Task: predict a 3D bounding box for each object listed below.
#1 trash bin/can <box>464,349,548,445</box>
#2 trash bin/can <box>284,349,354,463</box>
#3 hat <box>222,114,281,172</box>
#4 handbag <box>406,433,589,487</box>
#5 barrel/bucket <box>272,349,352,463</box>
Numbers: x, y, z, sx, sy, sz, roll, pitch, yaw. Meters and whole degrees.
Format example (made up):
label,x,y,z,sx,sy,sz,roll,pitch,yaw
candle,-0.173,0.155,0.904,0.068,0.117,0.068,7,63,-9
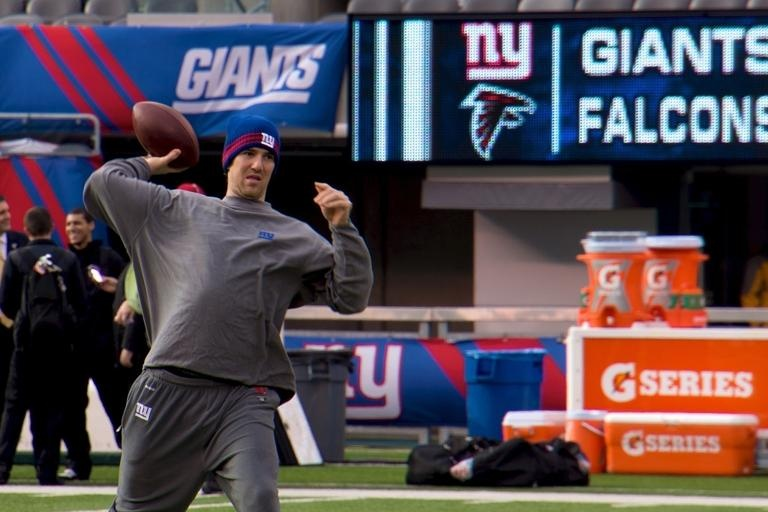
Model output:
label,x,y,z,sx,sy,sz,roll,pitch,yaw
trash bin/can,1.295,1.547,23.913,0.996,1.071,0.743,0,7,-39
trash bin/can,-0.427,1.636,23.718,0.731,1.145,0.999,-18,45,-15
hat,-1.252,-1.058,19.522,0.577,0.499,0.425,-5,-6,20
handbag,1.224,2.195,22.563,1.931,0.527,0.413,0,1,3
barrel/bucket,-0.729,1.685,23.492,1.217,1.538,1.241,-1,-1,0
